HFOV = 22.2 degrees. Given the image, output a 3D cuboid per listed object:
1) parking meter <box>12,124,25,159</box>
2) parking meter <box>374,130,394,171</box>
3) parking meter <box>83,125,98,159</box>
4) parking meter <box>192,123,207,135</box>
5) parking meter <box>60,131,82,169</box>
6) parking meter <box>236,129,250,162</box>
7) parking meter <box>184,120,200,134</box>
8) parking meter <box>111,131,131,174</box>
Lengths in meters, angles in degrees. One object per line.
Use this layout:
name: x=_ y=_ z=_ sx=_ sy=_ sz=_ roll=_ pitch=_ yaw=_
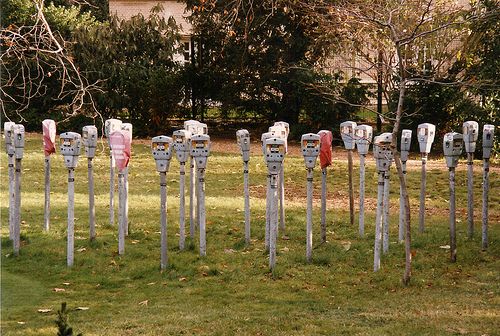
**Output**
parking meter: x=-7.864 y=-0.913 z=43.196 sx=0.405 sy=0.896 sz=0.348 roll=1 pitch=0 yaw=-13
parking meter: x=4.408 y=-0.554 z=42.548 sx=0.601 sy=1.183 sz=0.812 roll=1 pitch=0 yaw=5
parking meter: x=-5.472 y=-0.900 z=43.470 sx=0.470 sy=0.902 sz=0.492 roll=1 pitch=0 yaw=-9
parking meter: x=-1.754 y=-1.251 z=43.598 sx=0.594 sy=0.535 sz=0.357 roll=0 pitch=-4 yaw=-7
parking meter: x=-6.039 y=-0.600 z=42.878 sx=0.745 sy=1.232 sz=0.410 roll=2 pitch=6 yaw=31
parking meter: x=-0.255 y=-0.777 z=43.755 sx=0.415 sy=0.926 sz=0.321 roll=1 pitch=0 yaw=-5
parking meter: x=-2.099 y=-1.446 z=43.748 sx=0.432 sy=0.735 sz=0.424 roll=-1 pitch=1 yaw=-11
parking meter: x=-4.357 y=-0.517 z=43.040 sx=0.698 sy=1.500 sz=0.379 roll=2 pitch=8 yaw=33
